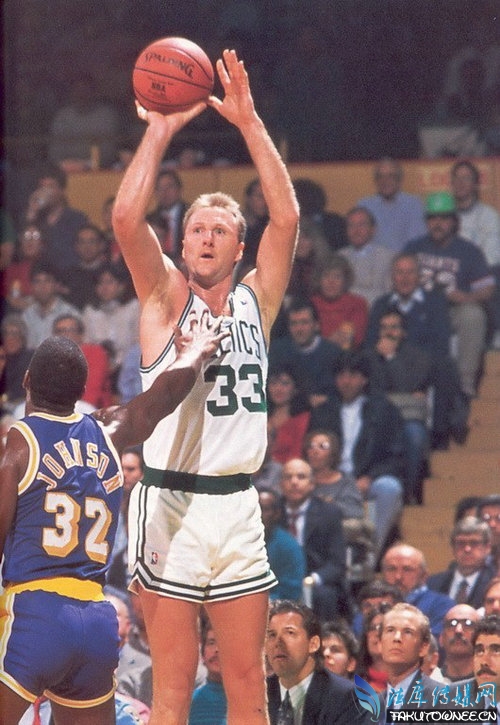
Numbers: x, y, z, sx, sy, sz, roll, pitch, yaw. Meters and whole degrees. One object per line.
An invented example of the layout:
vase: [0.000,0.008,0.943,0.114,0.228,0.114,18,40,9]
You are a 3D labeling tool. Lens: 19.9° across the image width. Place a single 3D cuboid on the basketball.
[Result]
basketball: [-0.269,-1.095,5.649,0.370,0.361,0.319,4,-2,2]
